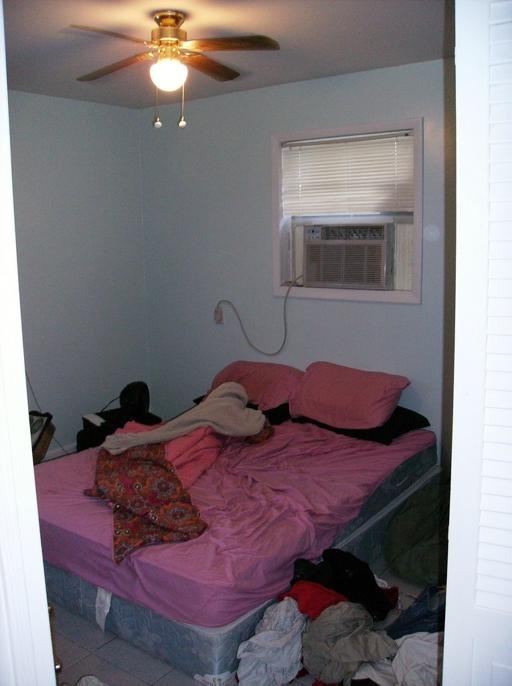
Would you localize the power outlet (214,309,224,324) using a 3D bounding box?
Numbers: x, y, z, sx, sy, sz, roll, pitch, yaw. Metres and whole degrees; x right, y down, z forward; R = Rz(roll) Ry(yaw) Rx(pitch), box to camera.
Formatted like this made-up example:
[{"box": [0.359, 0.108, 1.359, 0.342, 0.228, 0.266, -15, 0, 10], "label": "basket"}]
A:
[{"box": [-0.295, -0.207, 4.562, 0.038, 0.101, 0.078, 2, 6, -36], "label": "power outlet"}]

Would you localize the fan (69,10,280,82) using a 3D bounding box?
[{"box": [-0.386, -1.377, 2.707, 0.569, 0.094, 0.568, 1, 4, 38], "label": "fan"}]

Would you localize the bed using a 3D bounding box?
[{"box": [0.096, 0.745, 2.758, 1.099, 0.384, 1.494, 7, 15, 35], "label": "bed"}]
